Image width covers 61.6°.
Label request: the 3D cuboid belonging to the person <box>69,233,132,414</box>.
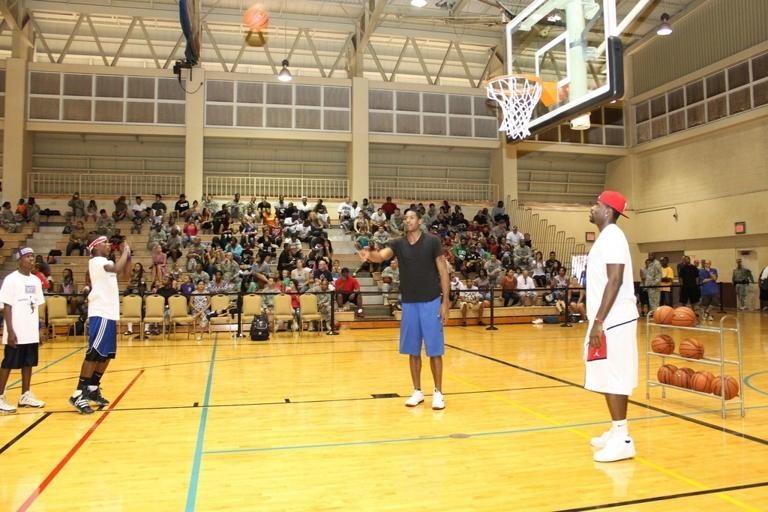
[{"bbox_3d":[-4.480,1.071,10.381,0.937,2.723,1.155,-2,-4,-3],"label":"person"}]

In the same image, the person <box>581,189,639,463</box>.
[{"bbox_3d":[3.094,0.940,8.678,0.724,3.515,0.830,2,9,11],"label":"person"}]

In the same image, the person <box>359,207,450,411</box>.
[{"bbox_3d":[0.240,0.759,10.049,1.501,3.008,0.850,-1,-10,-1],"label":"person"}]

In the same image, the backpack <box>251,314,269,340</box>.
[{"bbox_3d":[-3.137,1.776,16.114,0.457,0.580,0.535,-1,9,-3],"label":"backpack"}]
